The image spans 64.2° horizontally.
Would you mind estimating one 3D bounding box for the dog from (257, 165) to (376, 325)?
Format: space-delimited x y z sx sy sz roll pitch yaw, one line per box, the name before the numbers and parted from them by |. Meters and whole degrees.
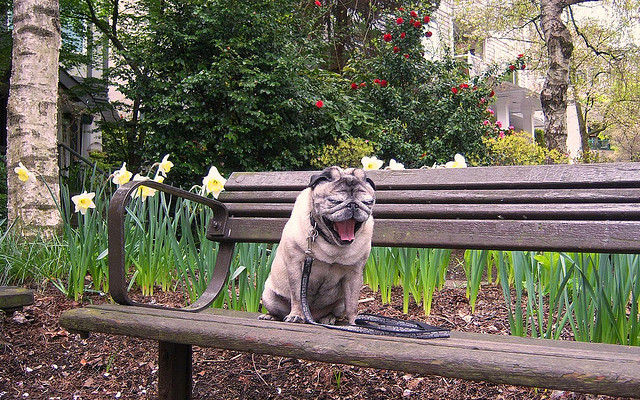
dog | 0.015 0.416 3.728 0.760 1.008 1.302 10 -16 -14
